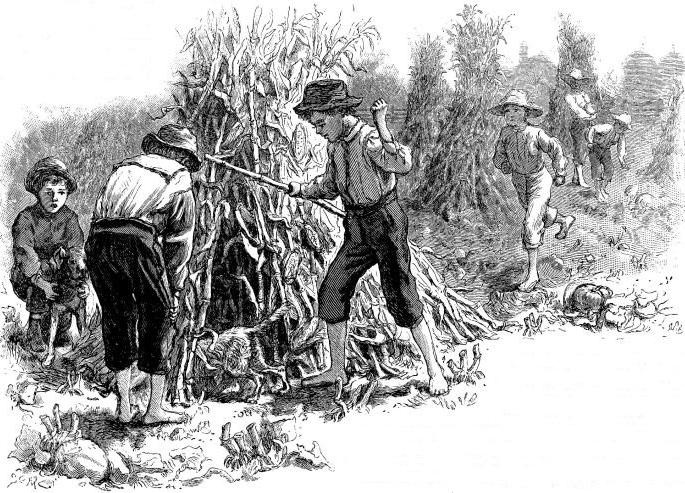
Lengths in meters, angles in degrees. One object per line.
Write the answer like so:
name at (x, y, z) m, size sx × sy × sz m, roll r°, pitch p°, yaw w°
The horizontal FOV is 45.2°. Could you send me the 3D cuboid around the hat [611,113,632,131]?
hat at (4.029, -1.798, 11.864) m, size 0.232 × 0.244 × 0.071 m, roll -6°, pitch -6°, yaw -16°
